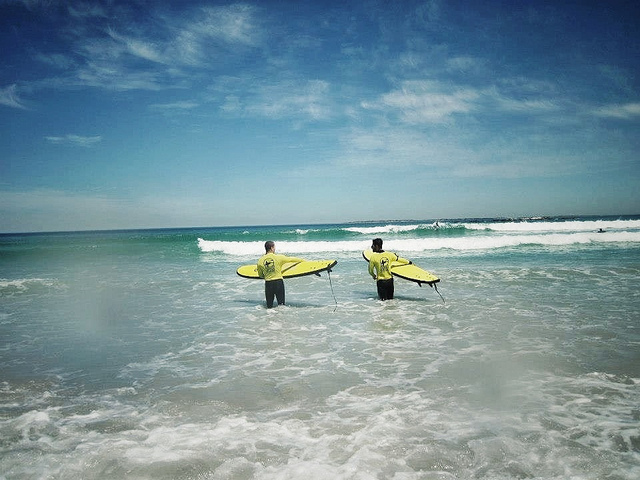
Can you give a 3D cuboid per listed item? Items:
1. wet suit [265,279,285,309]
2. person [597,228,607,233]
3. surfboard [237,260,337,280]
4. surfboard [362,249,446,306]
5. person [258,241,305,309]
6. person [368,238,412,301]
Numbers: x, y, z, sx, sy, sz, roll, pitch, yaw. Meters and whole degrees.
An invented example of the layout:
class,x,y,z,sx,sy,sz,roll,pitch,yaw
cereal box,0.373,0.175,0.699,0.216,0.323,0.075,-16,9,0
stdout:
class,x,y,z,sx,sy,sz,roll,pitch,yaw
wet suit,-1.183,1.382,12.619,0.468,0.828,0.450,-4,12,-5
person,21.191,-0.732,36.447,0.875,0.226,0.720,4,12,17
surfboard,-0.888,0.853,13.653,3.108,0.449,0.578,-5,44,5
surfboard,2.581,0.911,13.478,3.461,0.455,0.788,23,26,30
person,-1.166,0.905,12.407,0.739,1.885,0.992,6,15,34
person,1.785,0.820,12.960,0.895,1.852,1.039,-1,12,8
